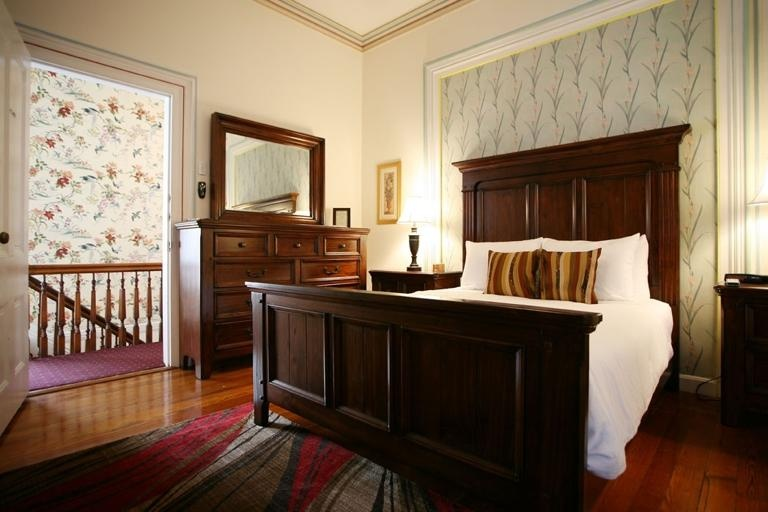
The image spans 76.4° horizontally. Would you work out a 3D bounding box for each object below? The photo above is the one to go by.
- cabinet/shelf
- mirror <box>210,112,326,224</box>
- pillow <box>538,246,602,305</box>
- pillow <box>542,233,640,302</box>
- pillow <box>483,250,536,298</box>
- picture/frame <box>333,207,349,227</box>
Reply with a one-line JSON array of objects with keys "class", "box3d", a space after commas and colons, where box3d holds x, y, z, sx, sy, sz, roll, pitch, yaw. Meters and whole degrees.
[{"class": "cabinet/shelf", "box3d": [-1.098, 0.387, 5.237, 1.971, 1.467, 0.724, 0, -1, -38]}, {"class": "mirror", "box3d": [-1.304, -0.943, 5.275, 1.354, 1.076, 0.140, 1, -4, -43]}, {"class": "pillow", "box3d": [1.477, 0.147, 4.059, 0.501, 0.473, 0.177, 3, 16, 22]}, {"class": "pillow", "box3d": [1.705, 0.116, 4.048, 0.185, 0.395, 0.527, 16, -13, -41]}, {"class": "pillow", "box3d": [1.094, 0.164, 4.260, 0.480, 0.432, 0.175, 3, 10, 35]}, {"class": "picture/frame", "box3d": [-0.510, -0.443, 5.663, 0.234, 0.284, 0.024, 0, -2, -19]}]
